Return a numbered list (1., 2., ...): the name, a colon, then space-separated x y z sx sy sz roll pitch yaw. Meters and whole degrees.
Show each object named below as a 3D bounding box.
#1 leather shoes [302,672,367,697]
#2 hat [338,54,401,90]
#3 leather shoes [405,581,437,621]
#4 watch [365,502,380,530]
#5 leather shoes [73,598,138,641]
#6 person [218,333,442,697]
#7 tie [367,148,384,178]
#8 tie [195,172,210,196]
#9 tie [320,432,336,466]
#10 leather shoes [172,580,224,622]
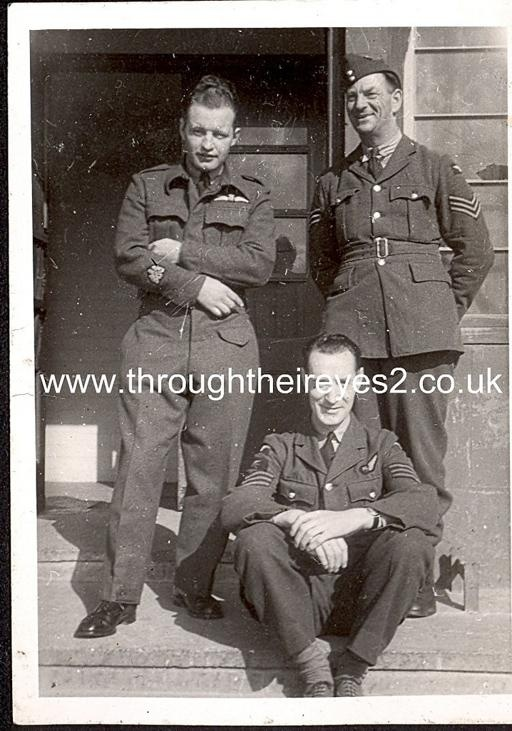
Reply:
1. leather shoes: 0.193 0.774 2.087 0.158 0.071 0.056 4 -1 -4
2. hat: 0.287 -0.730 2.166 0.098 0.054 0.078 0 2 3
3. leather shoes: 0.422 0.594 2.239 0.071 0.138 0.103 1 0 24
4. watch: 0.288 0.377 2.141 0.027 0.044 0.030 3 -6 -16
5. leather shoes: -0.372 0.610 2.163 0.142 0.068 0.080 -12 20 -13
6. person: 0.192 0.361 2.137 0.547 0.875 0.180 1 2 -3
7. tie: 0.302 -0.511 2.201 0.038 0.068 0.015 -3 10 6
8. tie: -0.131 -0.457 2.194 0.032 0.058 0.014 0 10 -7
9. tie: 0.183 0.214 2.214 0.041 0.077 0.017 6 2 6
10. leather shoes: -0.144 0.602 2.192 0.119 0.054 0.059 0 -7 28
